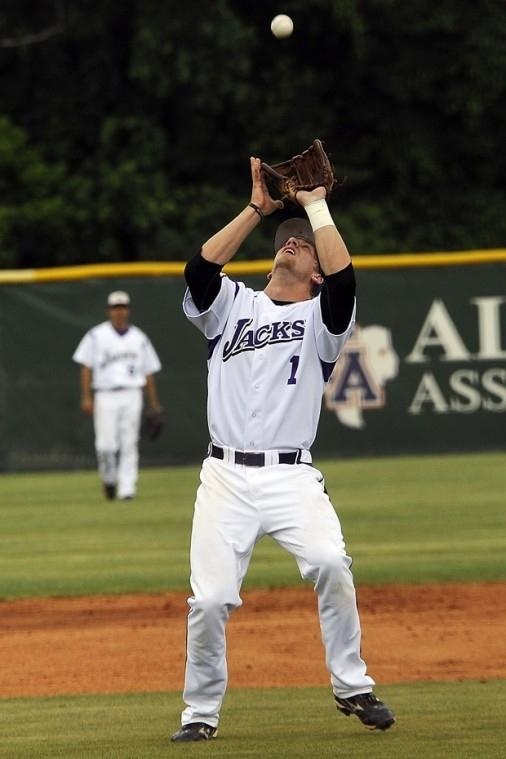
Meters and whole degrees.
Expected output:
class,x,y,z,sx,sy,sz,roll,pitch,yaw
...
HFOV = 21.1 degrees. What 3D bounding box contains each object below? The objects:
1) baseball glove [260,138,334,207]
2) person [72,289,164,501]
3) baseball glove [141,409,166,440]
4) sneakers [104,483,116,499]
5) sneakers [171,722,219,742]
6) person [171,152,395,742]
class,x,y,z,sx,sy,sz,roll,pitch,yaw
baseball glove,0.227,-0.936,5.982,0.232,0.319,0.148,-20,-21,17
person,-0.878,0.119,8.849,0.500,1.210,0.867,0,7,8
baseball glove,-0.673,0.301,8.980,0.134,0.171,0.060,-2,5,4
sneakers,-0.900,0.692,8.563,0.094,0.125,0.070,-4,-3,6
sneakers,-0.236,1.408,5.479,0.140,0.056,0.078,2,-1,-3
person,0.104,0.257,5.706,0.901,2.378,0.761,-1,7,-2
